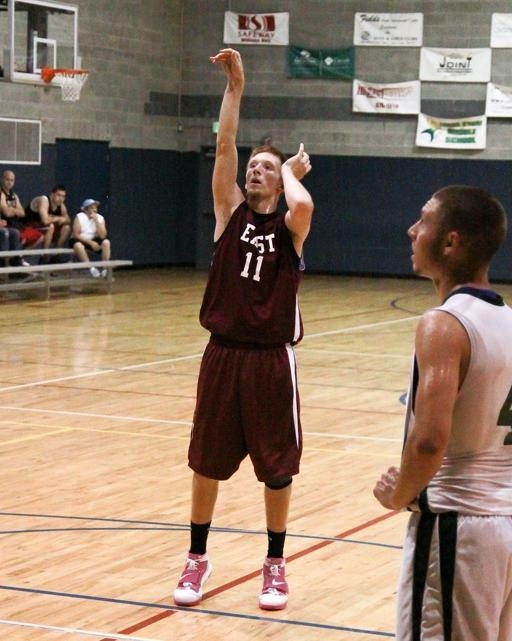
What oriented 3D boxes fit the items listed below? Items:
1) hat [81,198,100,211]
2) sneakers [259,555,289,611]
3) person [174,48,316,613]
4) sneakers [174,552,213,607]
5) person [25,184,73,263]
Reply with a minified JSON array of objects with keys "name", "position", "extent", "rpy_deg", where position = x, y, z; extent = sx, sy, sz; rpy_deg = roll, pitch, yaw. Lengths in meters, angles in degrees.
[{"name":"hat","position":[-3.039,-2.147,12.666],"extent":[0.228,0.199,0.401],"rpy_deg":[-2,7,-18]},{"name":"sneakers","position":[0.059,0.849,2.250],"extent":[0.087,0.132,0.236],"rpy_deg":[5,-2,0]},{"name":"person","position":[-0.044,0.002,2.292],"extent":[0.444,1.836,0.479],"rpy_deg":[0,7,2]},{"name":"sneakers","position":[-0.199,0.833,2.221],"extent":[0.066,0.076,0.181],"rpy_deg":[1,12,8]},{"name":"person","position":[-3.789,-1.808,12.651],"extent":[0.886,1.313,0.777],"rpy_deg":[24,17,34]}]
